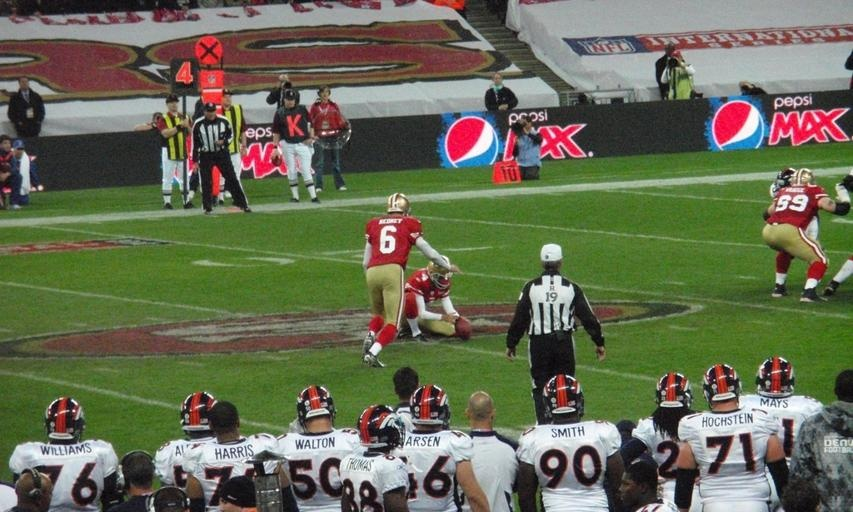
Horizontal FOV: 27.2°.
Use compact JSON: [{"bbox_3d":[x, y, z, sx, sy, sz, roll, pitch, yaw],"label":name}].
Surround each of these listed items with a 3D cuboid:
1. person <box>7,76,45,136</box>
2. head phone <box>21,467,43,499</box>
[{"bbox_3d":[-13.257,-4.932,59.008,1.094,1.985,1.031,6,-3,-38],"label":"person"},{"bbox_3d":[-7.322,4.336,32.946,0.179,0.365,0.450,0,29,-35],"label":"head phone"}]
